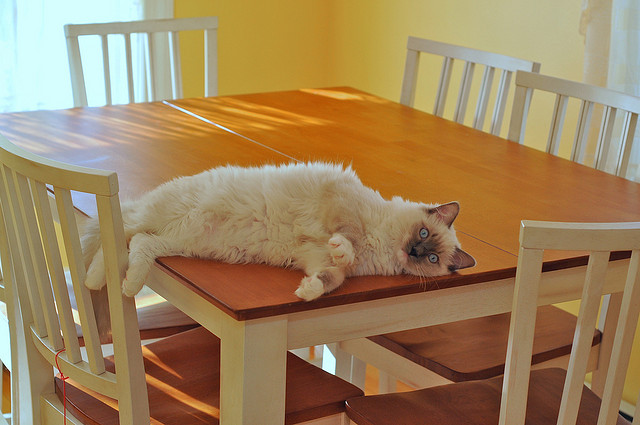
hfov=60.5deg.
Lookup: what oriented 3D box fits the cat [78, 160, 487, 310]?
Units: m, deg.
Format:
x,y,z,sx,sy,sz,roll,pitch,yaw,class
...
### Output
x,y,z,sx,sy,sz,roll,pitch,yaw,class
-0.072,0.024,1.209,0.700,0.221,0.398,1,24,8,cat
